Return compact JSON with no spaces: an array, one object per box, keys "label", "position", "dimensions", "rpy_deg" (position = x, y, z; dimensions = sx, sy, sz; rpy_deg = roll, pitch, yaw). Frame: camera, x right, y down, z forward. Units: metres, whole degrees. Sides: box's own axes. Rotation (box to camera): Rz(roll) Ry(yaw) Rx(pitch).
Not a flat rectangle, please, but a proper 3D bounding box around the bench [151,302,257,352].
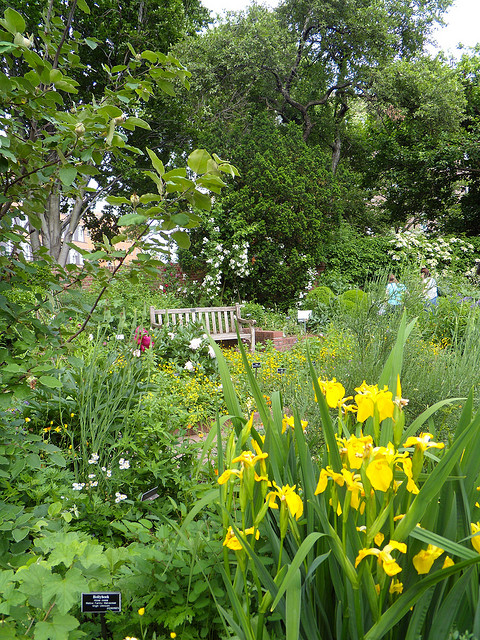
[{"label":"bench","position":[-0.412,0.047,7.671],"dimensions":[1.329,0.554,2.207],"rpy_deg":[2,2,22]}]
